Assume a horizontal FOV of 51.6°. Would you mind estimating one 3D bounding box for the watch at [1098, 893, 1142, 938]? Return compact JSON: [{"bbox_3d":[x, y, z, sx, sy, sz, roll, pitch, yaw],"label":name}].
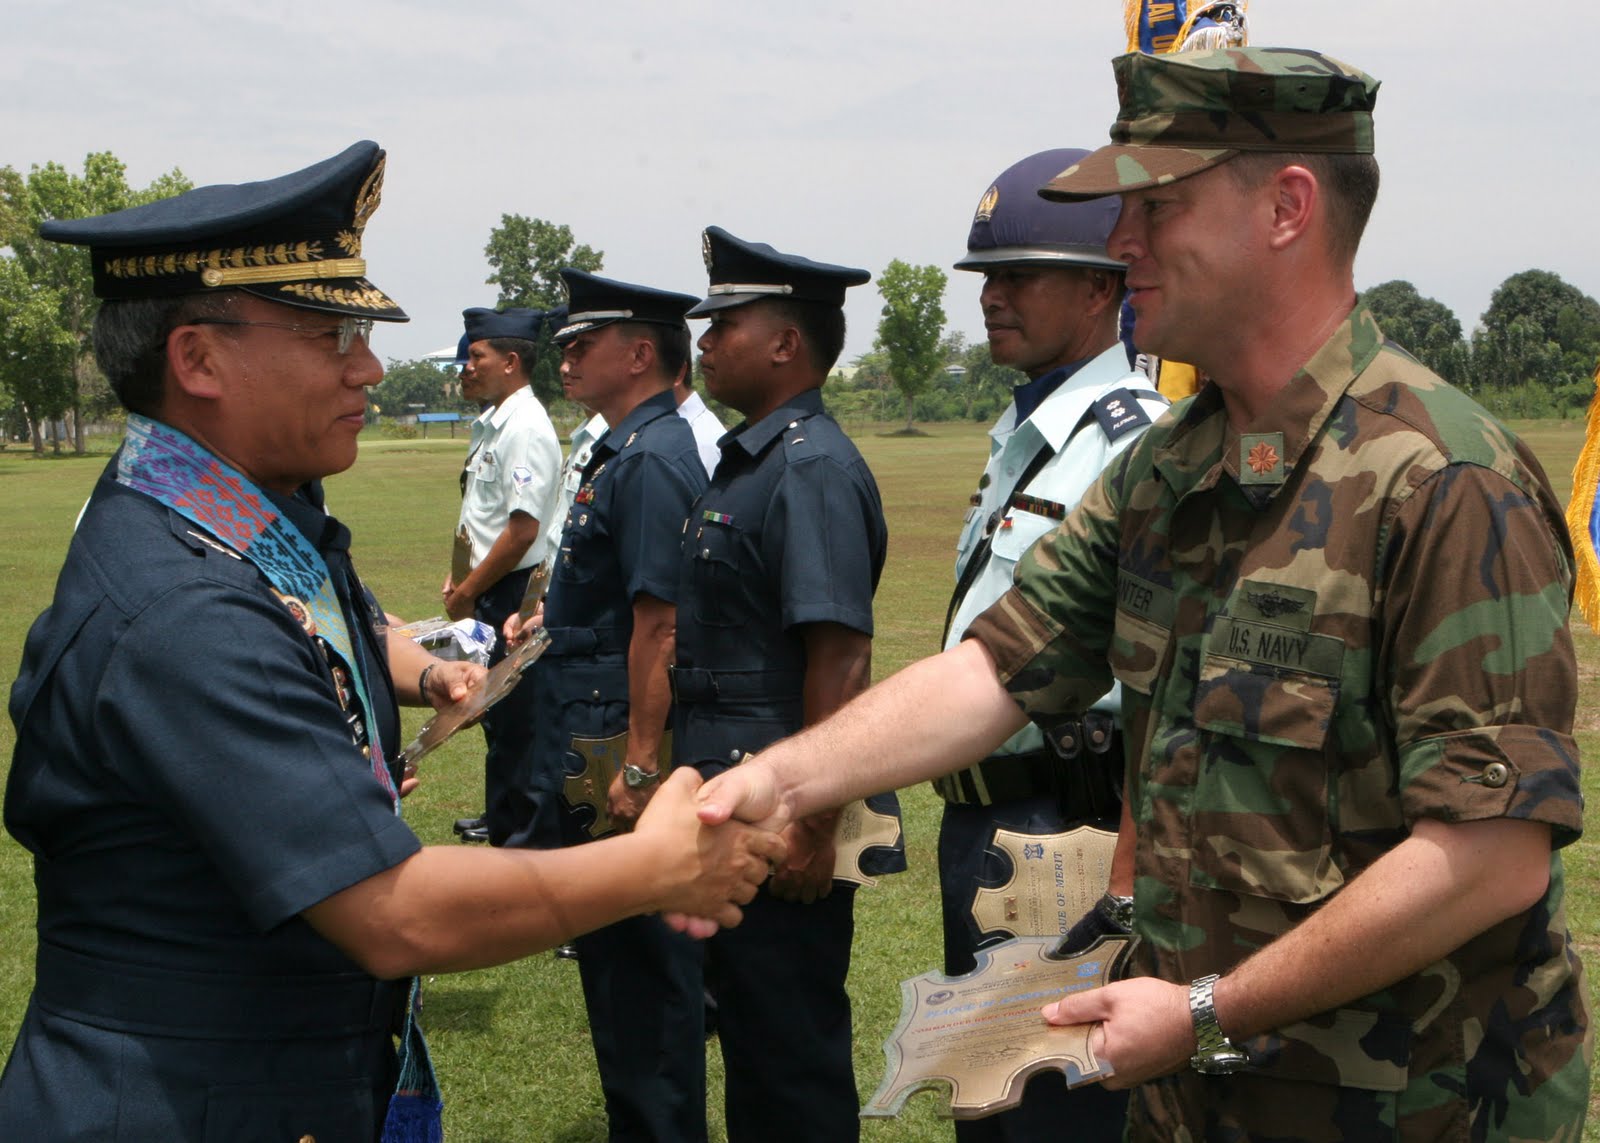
[{"bbox_3d":[0.745,0.802,3.812,0.127,0.110,0.091,3,-12,-9],"label":"watch"}]
